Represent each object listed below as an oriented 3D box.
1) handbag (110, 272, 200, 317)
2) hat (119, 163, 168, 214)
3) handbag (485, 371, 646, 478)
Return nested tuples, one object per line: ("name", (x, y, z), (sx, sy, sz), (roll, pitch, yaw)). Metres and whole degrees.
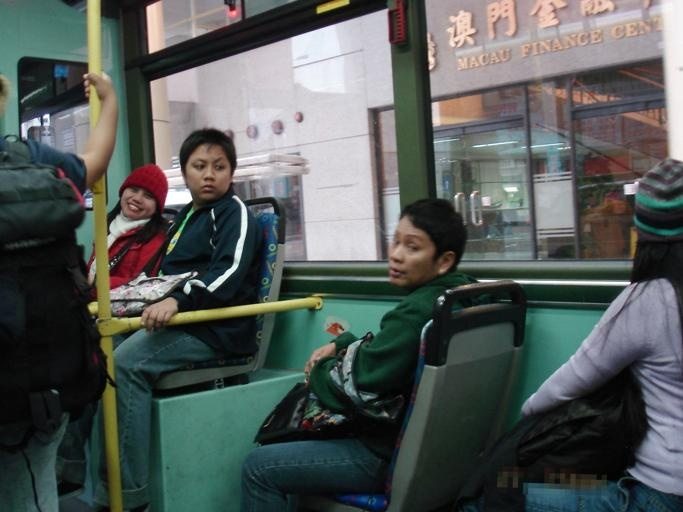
("handbag", (-0.773, 0.174, 2.478), (0.257, 0.091, 0.206), (-23, 10, -28))
("hat", (-1.060, -0.381, 3.236), (0.274, 0.225, 0.267), (14, 13, -10))
("handbag", (0.622, 0.436, 1.699), (0.362, 0.148, 0.298), (-17, 10, 18))
